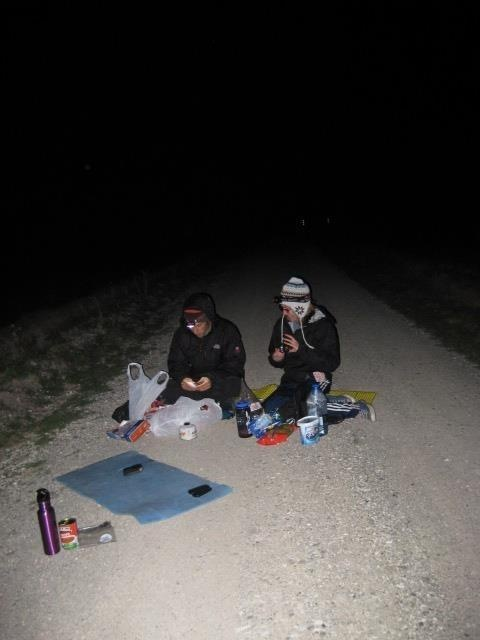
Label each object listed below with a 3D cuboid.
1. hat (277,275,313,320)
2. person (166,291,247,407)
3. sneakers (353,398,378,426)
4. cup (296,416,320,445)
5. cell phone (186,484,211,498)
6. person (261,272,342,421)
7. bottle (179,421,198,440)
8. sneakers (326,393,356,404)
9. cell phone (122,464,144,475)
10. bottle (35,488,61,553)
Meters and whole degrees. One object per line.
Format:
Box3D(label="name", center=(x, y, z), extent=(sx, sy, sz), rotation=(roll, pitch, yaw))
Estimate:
Box3D(label="hat", center=(0.575, -0.230, 5.603), extent=(0.308, 0.406, 0.400), rotation=(-3, 0, -10))
Box3D(label="person", center=(-0.481, 0.390, 5.854), extent=(0.980, 1.306, 0.953), rotation=(-7, 2, -6))
Box3D(label="sneakers", center=(1.273, 0.890, 5.119), extent=(0.172, 0.164, 0.297), rotation=(-11, 13, -34))
Box3D(label="cup", center=(0.631, 0.983, 4.634), extent=(0.223, 0.174, 0.211), rotation=(-5, -2, 0))
Box3D(label="cell phone", center=(-0.301, 1.272, 3.857), extent=(0.178, 0.031, 0.151), rotation=(-13, 14, -43))
Box3D(label="person", center=(0.597, 0.374, 5.730), extent=(1.014, 1.656, 0.809), rotation=(-10, 17, -15))
Box3D(label="bottle", center=(-0.494, 1.053, 4.908), extent=(0.136, 0.142, 0.141), rotation=(-1, 10, 4))
Box3D(label="sneakers", center=(1.036, 0.811, 5.333), extent=(0.224, 0.068, 0.136), rotation=(6, -3, -18))
Box3D(label="cell phone", center=(-0.899, 1.240, 4.312), extent=(0.177, 0.048, 0.138), rotation=(-7, 11, -18))
Box3D(label="bottle", center=(-1.222, 1.261, 3.256), extent=(0.107, 0.414, 0.183), rotation=(-9, 12, -23))
